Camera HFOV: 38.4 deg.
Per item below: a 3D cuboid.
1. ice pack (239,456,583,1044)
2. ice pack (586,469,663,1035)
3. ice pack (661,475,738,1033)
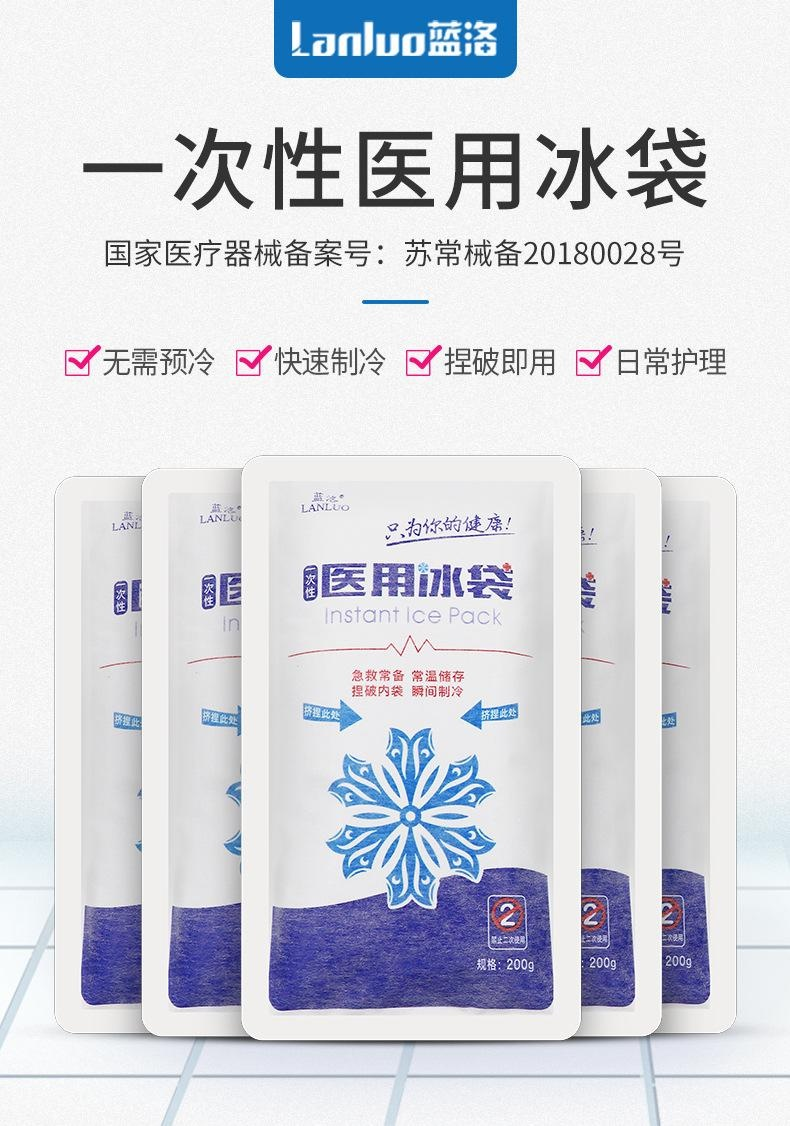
[{"bbox_3d":[0.022,0.270,1.629,0.478,0.826,0.067,0,5,1],"label":"ice pack"},{"bbox_3d":[0.329,0.280,1.650,0.111,0.813,0.065,0,5,0],"label":"ice pack"},{"bbox_3d":[0.453,0.289,1.695,0.112,0.829,0.062,0,5,1],"label":"ice pack"}]
